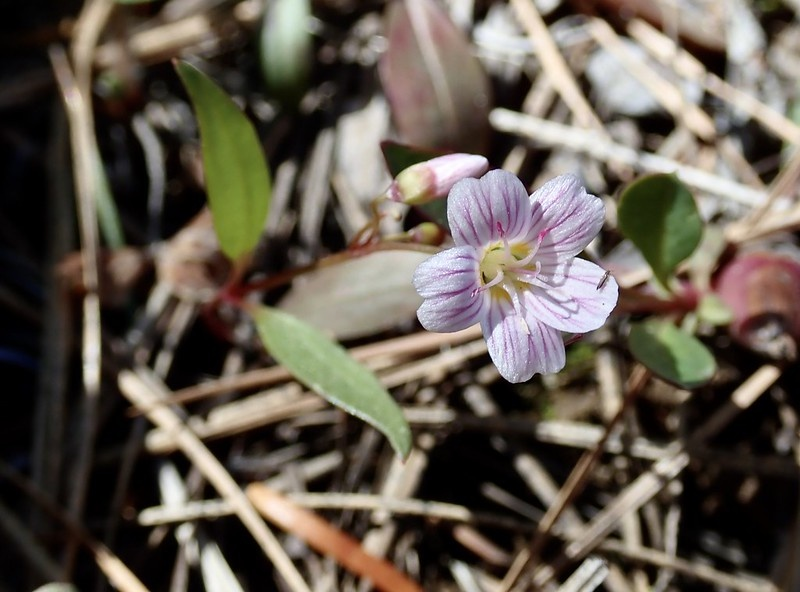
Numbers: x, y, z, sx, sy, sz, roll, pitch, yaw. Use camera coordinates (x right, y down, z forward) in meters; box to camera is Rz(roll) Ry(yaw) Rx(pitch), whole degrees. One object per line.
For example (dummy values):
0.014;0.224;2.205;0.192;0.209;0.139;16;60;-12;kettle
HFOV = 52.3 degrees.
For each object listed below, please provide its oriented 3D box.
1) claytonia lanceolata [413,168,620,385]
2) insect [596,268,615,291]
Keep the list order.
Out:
0.267;-0.047;1.767;0.472;0.196;0.433;-42;9;-31;claytonia lanceolata
0.440;-0.035;1.755;0.027;0.039;0.013;34;14;9;insect
